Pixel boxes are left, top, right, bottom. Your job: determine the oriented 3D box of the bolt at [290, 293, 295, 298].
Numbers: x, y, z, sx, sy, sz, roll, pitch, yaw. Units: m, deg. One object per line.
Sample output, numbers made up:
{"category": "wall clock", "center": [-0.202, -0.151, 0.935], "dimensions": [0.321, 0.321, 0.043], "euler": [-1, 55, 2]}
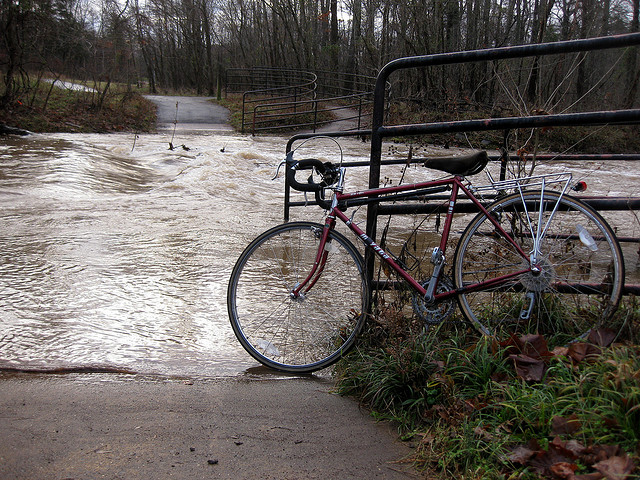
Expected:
{"category": "bolt", "center": [-0.204, 0.406, 4.389], "dimensions": [0.046, 0.027, 0.024], "euler": [0, -4, -2]}
